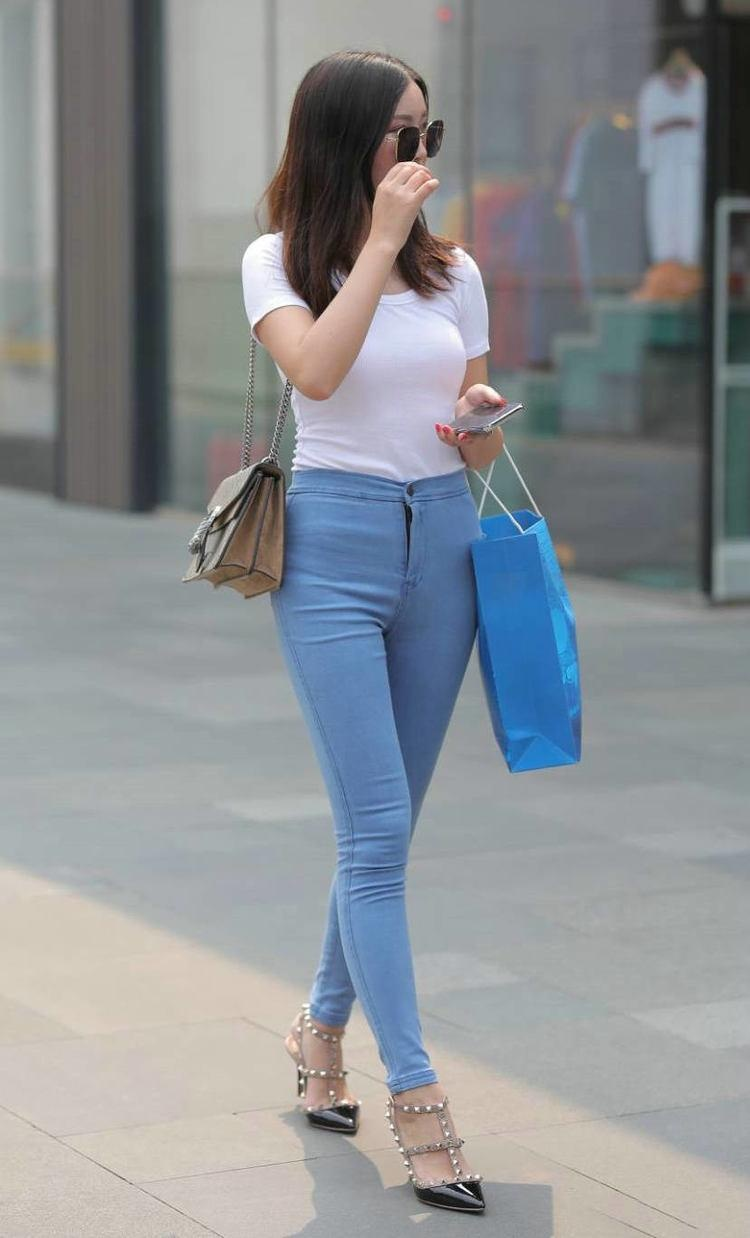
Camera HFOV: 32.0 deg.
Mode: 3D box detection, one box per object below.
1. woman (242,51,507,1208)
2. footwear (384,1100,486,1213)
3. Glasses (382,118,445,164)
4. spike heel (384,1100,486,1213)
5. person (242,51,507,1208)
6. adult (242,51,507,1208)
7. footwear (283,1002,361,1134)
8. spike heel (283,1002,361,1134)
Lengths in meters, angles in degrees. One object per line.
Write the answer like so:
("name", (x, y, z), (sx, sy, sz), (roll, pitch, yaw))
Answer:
("woman", (-0.013, 0.019, 1.899), (0.378, 1.620, 0.641), (1, 13, 5))
("footwear", (0.081, 0.734, 1.822), (0.069, 0.075, 0.183), (-10, 50, -32))
("Glasses", (0.052, -0.669, 1.825), (0.083, 0.038, 0.084), (12, 21, 39))
("spike heel", (0.080, 0.731, 1.821), (0.069, 0.075, 0.183), (-10, 50, -32))
("person", (-0.013, 0.019, 1.900), (0.378, 1.620, 0.640), (1, 13, 5))
("adult", (-0.013, 0.019, 1.900), (0.378, 1.620, 0.641), (1, 13, 5))
("footwear", (-0.084, 0.721, 2.072), (0.072, 0.101, 0.201), (0, 11, -26))
("spike heel", (-0.081, 0.722, 2.074), (0.072, 0.101, 0.201), (0, 11, -26))
